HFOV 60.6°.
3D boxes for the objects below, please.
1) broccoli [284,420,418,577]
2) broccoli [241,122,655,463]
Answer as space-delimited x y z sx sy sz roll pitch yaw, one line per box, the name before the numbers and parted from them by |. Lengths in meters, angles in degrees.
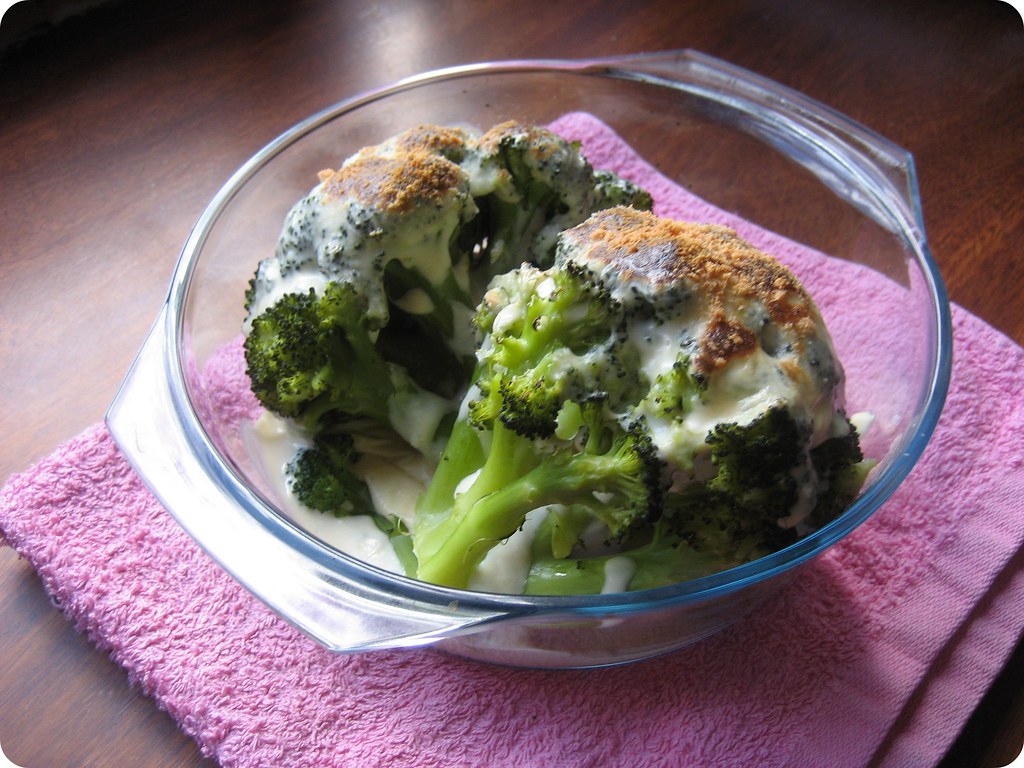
broccoli | -0.178 0.138 1.053 0.188 0.077 0.106 34 37 20
broccoli | -0.087 -0.113 1.187 0.466 0.258 0.355 -31 84 -9
